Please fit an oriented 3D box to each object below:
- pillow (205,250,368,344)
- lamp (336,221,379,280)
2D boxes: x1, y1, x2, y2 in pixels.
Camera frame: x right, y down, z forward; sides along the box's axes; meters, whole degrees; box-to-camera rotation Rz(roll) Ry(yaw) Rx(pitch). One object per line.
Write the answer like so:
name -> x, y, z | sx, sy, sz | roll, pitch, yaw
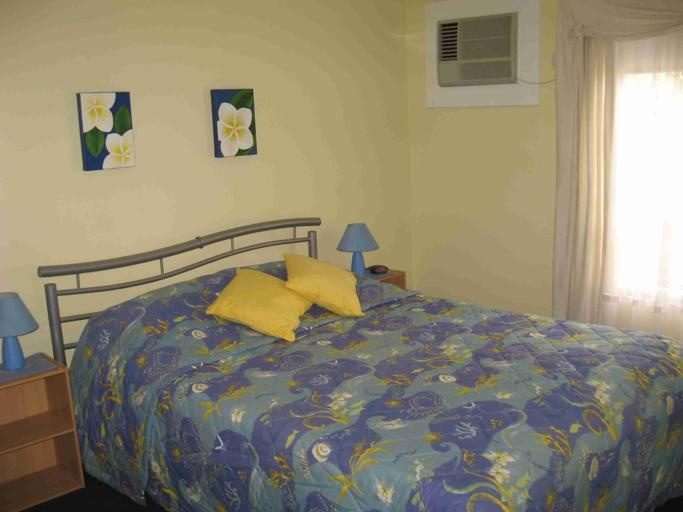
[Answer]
pillow -> -0.369, 0.268, 3.690 | 1.067, 0.416, 0.610 | -10, 13, -40
lamp -> 0.127, -0.061, 4.925 | 0.411, 0.490, 0.420 | -7, 12, -14
